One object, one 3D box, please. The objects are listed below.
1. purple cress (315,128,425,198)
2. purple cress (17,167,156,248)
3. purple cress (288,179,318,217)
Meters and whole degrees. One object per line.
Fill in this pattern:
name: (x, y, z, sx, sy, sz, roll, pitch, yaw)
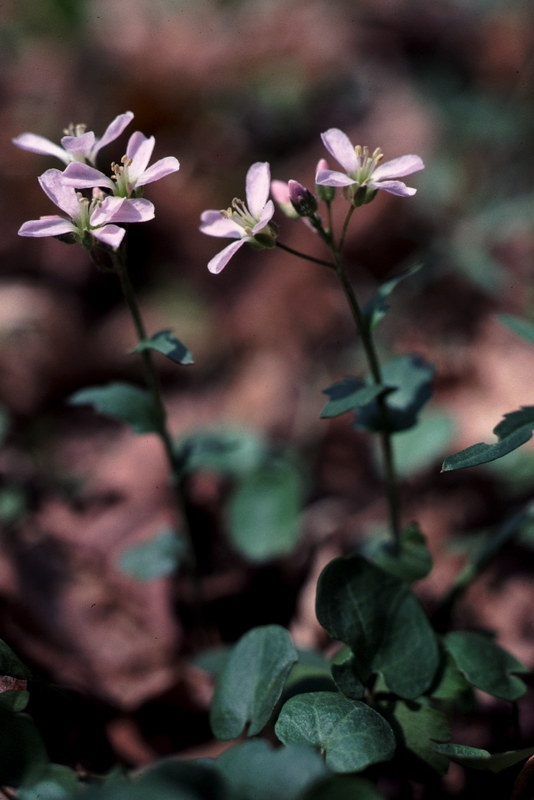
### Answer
purple cress: (0.162, -0.388, 1.255, 0.163, 0.123, 0.268, -7, 8, 6)
purple cress: (-0.268, -0.297, 1.178, 0.181, 0.076, 0.156, -2, 47, 3)
purple cress: (0.054, -0.322, 1.210, 0.042, 0.056, 0.057, -11, 9, -15)
